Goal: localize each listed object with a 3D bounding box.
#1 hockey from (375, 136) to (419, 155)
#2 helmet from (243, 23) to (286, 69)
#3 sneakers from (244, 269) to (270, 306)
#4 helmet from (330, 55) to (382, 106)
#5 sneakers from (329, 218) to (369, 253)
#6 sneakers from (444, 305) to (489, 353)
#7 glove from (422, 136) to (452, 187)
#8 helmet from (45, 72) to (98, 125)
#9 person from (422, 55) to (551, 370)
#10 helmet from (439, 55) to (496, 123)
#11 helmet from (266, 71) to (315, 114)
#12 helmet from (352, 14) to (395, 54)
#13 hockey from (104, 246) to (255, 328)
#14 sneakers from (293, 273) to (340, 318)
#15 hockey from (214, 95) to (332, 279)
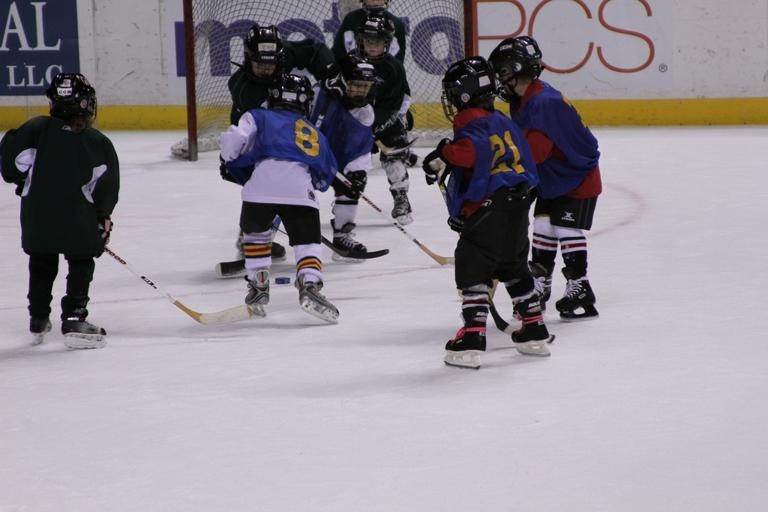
[{"bbox_3d":[0.095,-0.686,6.180,0.273,0.117,0.177,-9,1,0],"label":"hockey"},{"bbox_3d":[-0.602,-1.035,4.696,0.199,0.194,0.153,-2,10,1],"label":"helmet"},{"bbox_3d":[-0.583,0.118,4.441,0.099,0.146,0.239,-3,10,-18],"label":"sneakers"},{"bbox_3d":[-0.159,-0.891,4.847,0.260,0.269,0.229,-2,10,-3],"label":"helmet"},{"bbox_3d":[-0.199,-0.096,5.178,0.118,0.151,0.307,-5,19,-41],"label":"sneakers"},{"bbox_3d":[0.343,0.298,3.854,0.122,0.217,0.250,1,-9,-32],"label":"sneakers"},{"bbox_3d":[0.219,-0.372,3.810,0.064,0.177,0.127,6,46,-39],"label":"glove"},{"bbox_3d":[-1.337,-0.669,4.038,0.215,0.198,0.230,1,6,-1],"label":"helmet"},{"bbox_3d":[0.405,-0.182,3.816,0.469,1.208,0.369,-3,10,-3],"label":"person"},{"bbox_3d":[0.363,-0.681,3.898,0.279,0.225,0.216,-7,13,33],"label":"helmet"},{"bbox_3d":[-0.431,-0.736,4.406,0.248,0.220,0.254,6,-2,-7],"label":"helmet"},{"bbox_3d":[-0.050,-1.212,5.237,0.236,0.240,0.270,9,32,10],"label":"helmet"},{"bbox_3d":[-0.996,0.163,4.658,0.880,0.117,0.121,23,11,39],"label":"hockey"},{"bbox_3d":[-0.311,0.186,4.337,0.070,0.210,0.138,-35,34,27],"label":"sneakers"},{"bbox_3d":[-0.474,-0.280,4.308,0.487,0.931,0.391,-2,10,1],"label":"hockey"}]
